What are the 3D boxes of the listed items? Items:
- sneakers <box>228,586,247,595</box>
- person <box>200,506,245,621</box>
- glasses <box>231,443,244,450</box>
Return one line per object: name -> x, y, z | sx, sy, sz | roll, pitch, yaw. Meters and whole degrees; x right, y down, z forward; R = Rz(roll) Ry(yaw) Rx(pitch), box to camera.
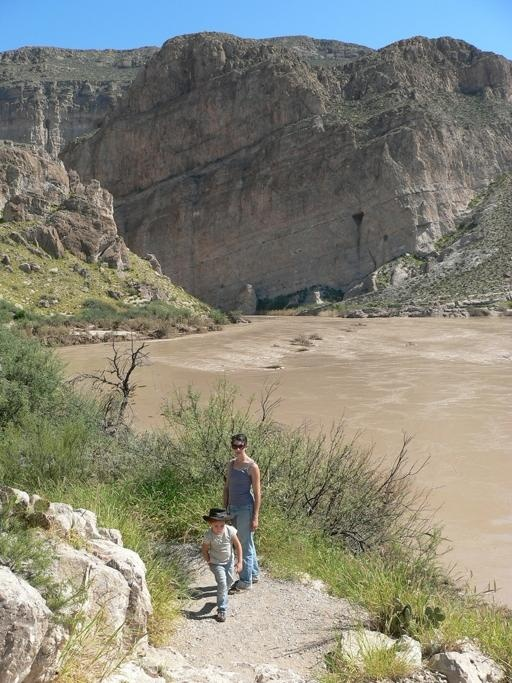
sneakers -> -0.211, 2.714, 13.439 | 0.203, 0.086, 0.068 | -12, 6, 4
person -> -0.386, 2.371, 13.209 | 0.369, 1.160, 0.645 | -1, 1, 13
glasses -> -0.206, 1.178, 13.532 | 0.115, 0.078, 0.081 | -1, 1, -4
